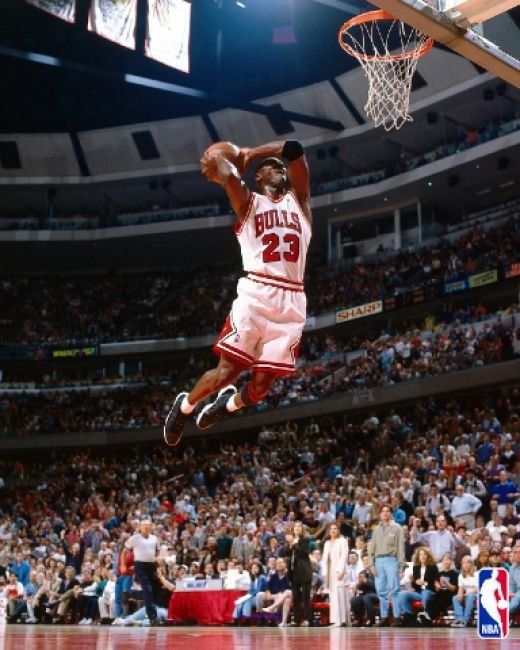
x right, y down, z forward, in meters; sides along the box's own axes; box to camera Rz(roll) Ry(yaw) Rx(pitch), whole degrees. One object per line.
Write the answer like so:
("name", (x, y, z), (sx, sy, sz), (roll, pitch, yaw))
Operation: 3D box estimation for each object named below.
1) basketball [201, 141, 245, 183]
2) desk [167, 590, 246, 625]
("basketball", (-0.334, -1.590, 9.859), (0.483, 0.340, 0.346), (0, 1, 19))
("desk", (-0.950, 4.784, 17.020), (1.272, 0.595, 0.255), (-9, -17, 19))
